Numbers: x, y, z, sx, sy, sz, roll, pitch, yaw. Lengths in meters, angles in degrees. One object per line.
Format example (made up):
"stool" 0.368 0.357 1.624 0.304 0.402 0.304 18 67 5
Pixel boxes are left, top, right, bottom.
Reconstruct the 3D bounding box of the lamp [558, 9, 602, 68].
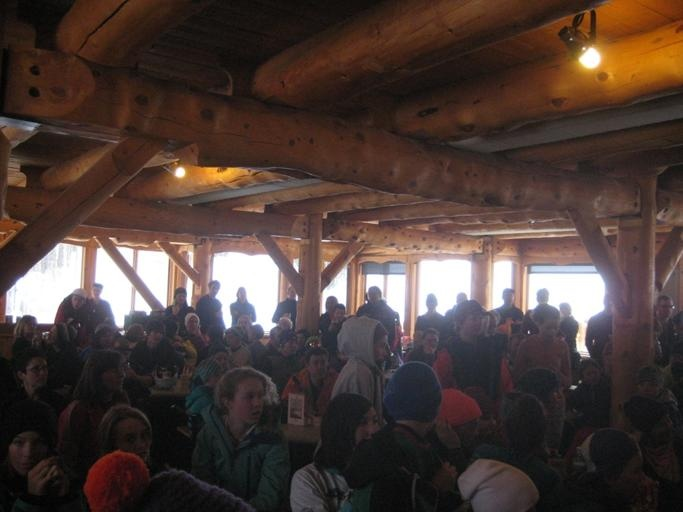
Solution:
"lamp" 1.455 -1.310 3.716 0.217 0.360 0.502 3 -6 27

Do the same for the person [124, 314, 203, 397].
"person" -1.890 1.087 6.472 0.583 0.710 0.761 7 -26 -27

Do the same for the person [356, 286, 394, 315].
"person" 0.468 0.607 8.420 0.458 0.427 0.907 5 -5 1

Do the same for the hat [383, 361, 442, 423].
"hat" 0.426 0.843 3.787 0.281 0.304 0.391 12 39 15

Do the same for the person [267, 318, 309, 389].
"person" -0.547 0.998 6.231 0.346 1.006 0.323 -13 -15 29

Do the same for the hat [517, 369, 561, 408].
"hat" 1.612 1.046 5.078 0.315 0.312 0.376 1 -31 -6

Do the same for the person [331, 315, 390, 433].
"person" 0.128 0.820 4.198 0.452 1.110 0.454 0 26 2

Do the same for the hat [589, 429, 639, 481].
"hat" 1.780 1.292 4.019 0.328 0.300 0.198 7 -5 -18
